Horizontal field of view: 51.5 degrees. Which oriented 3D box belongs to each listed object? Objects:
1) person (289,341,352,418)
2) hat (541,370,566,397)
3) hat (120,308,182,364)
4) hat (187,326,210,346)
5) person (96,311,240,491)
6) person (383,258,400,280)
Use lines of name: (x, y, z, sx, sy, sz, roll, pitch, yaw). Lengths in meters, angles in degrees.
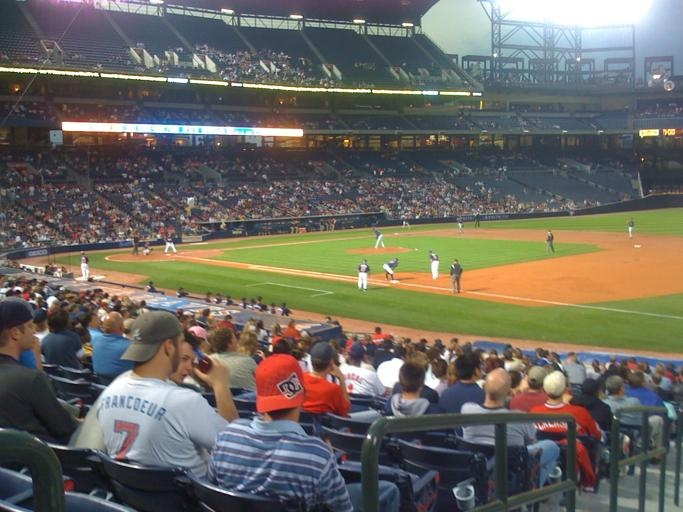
person: (-0.258, 1.526, 8.581, 0.673, 0.617, 1.691, 8, -41, 4)
hat: (2.625, 1.571, 8.683, 0.202, 0.317, 0.166, -12, -47, 29)
hat: (-1.738, 0.728, 6.563, 0.360, 0.309, 0.585, 6, 25, 16)
hat: (-1.843, 1.039, 9.124, 0.246, 0.146, 0.399, 27, -17, 14)
person: (-1.687, 1.448, 6.844, 0.873, 1.685, 0.890, 15, 29, 22)
person: (1.981, 0.360, 29.361, 0.494, 1.134, 0.572, 18, -6, 9)
